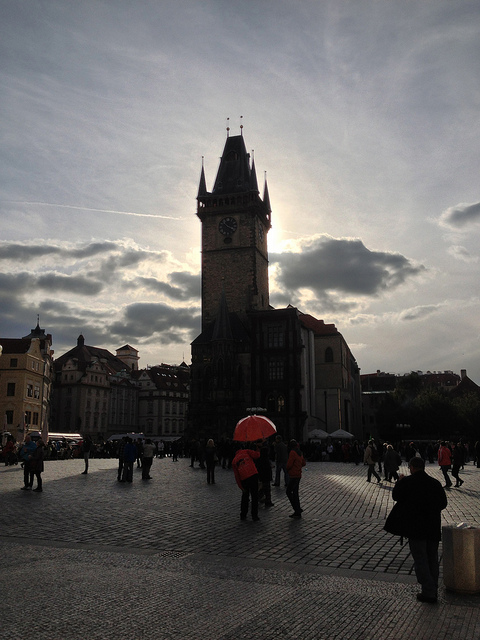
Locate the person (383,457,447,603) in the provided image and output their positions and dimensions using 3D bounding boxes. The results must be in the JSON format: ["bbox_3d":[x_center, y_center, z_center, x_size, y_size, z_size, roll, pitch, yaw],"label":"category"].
[{"bbox_3d":[2.024,2.345,6.230,0.622,1.455,0.972,-3,-10,23],"label":"person"}]

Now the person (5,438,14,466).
[{"bbox_3d":[-13.393,7.727,31.742,0.504,1.286,1.605,4,-10,-24],"label":"person"}]

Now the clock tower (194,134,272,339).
[{"bbox_3d":[-0.780,-11.528,67.213,8.563,26.313,6.795,1,-9,-4],"label":"clock tower"}]

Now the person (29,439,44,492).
[{"bbox_3d":[-6.560,4.680,17.587,0.524,1.630,0.557,4,-18,-23],"label":"person"}]

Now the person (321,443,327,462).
[{"bbox_3d":[6.921,10.848,44.622,0.460,1.136,1.928,-1,-9,8],"label":"person"}]

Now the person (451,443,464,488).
[{"bbox_3d":[8.676,5.790,21.727,0.367,1.562,2.243,-3,-10,21],"label":"person"}]

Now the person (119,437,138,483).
[{"bbox_3d":[-4.289,5.411,20.909,0.577,1.597,0.766,2,-9,-12],"label":"person"}]

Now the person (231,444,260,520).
[{"bbox_3d":[0.148,3.760,12.538,0.593,1.560,0.914,0,-9,0],"label":"person"}]

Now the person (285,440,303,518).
[{"bbox_3d":[1.261,3.664,12.487,0.373,1.655,0.991,-1,-9,6],"label":"person"}]

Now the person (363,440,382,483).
[{"bbox_3d":[5.682,6.016,23.357,0.647,1.712,1.598,-2,-9,14],"label":"person"}]

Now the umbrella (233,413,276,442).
[{"bbox_3d":[0.302,2.889,14.482,0.769,0.397,0.783,-9,3,44],"label":"umbrella"}]
